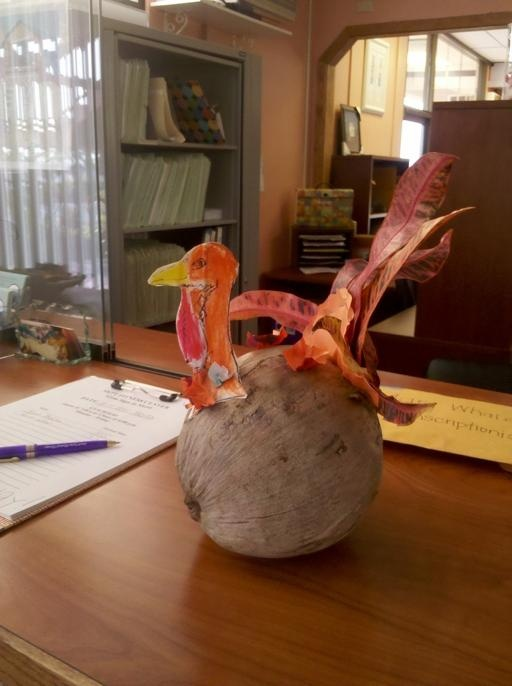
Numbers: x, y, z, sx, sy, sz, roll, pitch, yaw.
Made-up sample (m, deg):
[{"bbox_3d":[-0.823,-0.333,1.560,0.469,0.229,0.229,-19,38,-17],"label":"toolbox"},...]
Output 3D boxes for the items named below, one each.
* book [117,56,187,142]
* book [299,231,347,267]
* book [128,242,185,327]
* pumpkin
[{"bbox_3d":[-0.408,-0.958,2.282,0.220,0.328,0.433,0,14,-4],"label":"book"},{"bbox_3d":[0.411,-0.566,3.482,0.326,0.198,0.221,1,12,2],"label":"book"},{"bbox_3d":[-0.416,-0.233,2.378,0.139,0.342,0.399,7,15,21],"label":"book"},{"bbox_3d":[0.013,0.071,0.371,0.130,0.094,0.096,-20,-19,-10],"label":"pumpkin"}]
